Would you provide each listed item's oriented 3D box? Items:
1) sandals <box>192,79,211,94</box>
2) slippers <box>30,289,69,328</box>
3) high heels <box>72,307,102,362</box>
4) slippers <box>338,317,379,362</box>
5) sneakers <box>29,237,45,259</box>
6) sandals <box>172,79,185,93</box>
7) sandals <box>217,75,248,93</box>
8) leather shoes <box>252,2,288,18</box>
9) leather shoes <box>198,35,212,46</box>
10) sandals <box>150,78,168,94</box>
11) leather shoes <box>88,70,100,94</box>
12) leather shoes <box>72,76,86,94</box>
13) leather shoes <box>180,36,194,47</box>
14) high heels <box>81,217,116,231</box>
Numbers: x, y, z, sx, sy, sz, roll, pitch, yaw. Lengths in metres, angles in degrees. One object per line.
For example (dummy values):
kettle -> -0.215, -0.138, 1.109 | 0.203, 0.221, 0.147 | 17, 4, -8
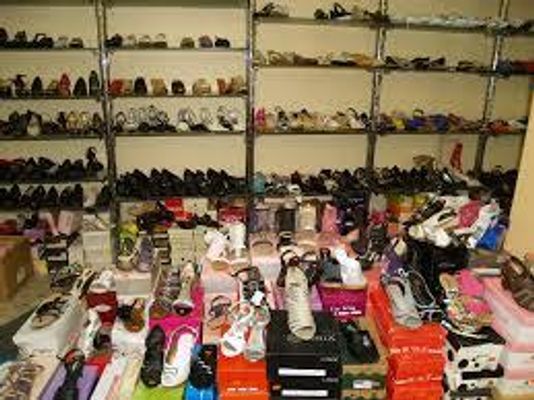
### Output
sandals -> -0.727, -1.255, 4.162 | 0.180, 0.110, 0.182 | 1, 28, -3
slippers -> -1.716, 0.832, 2.958 | 0.187, 0.105, 0.458 | -9, 17, -9
high heels -> -1.313, 1.005, 2.822 | 0.146, 0.372, 0.108 | -5, -26, 35
slippers -> 0.629, 0.961, 2.663 | 0.192, 0.110, 0.446 | -5, 18, -14
sneakers -> -2.535, 0.538, 4.138 | 0.095, 0.107, 0.280 | -1, 0, -11
sandals -> -0.988, -1.271, 4.192 | 0.148, 0.170, 0.233 | -6, 10, -11
sandals -> -0.377, -1.277, 4.232 | 0.225, 0.090, 0.303 | -5, 29, -7
leather shoes -> 0.048, -2.036, 3.987 | 0.180, 0.168, 0.325 | 5, 13, 43
leather shoes -> -0.668, -1.740, 4.087 | 0.126, 0.145, 0.130 | -12, 13, -42
sandals -> -1.196, -1.273, 4.174 | 0.167, 0.198, 0.243 | -7, 10, -17
leather shoes -> -1.884, -1.322, 4.137 | 0.120, 0.350, 0.104 | -6, -13, -19
leather shoes -> -2.044, -1.268, 4.112 | 0.147, 0.232, 0.082 | 1, -25, -27
leather shoes -> -0.855, -1.699, 4.042 | 0.105, 0.070, 0.176 | -4, 20, -12
high heels -> -1.838, 0.256, 4.101 | 0.272, 0.109, 0.140 | -4, 8, -14
